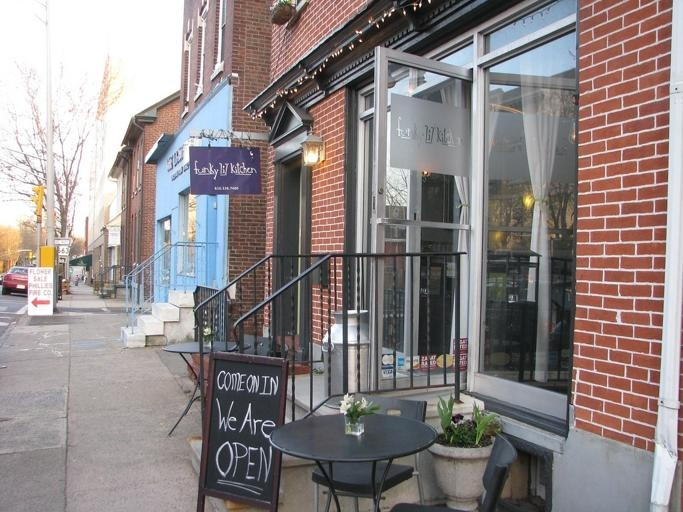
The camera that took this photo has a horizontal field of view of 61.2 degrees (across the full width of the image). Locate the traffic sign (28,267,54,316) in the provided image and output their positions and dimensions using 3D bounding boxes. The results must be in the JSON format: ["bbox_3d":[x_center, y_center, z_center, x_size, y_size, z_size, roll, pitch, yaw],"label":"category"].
[{"bbox_3d":[-8.484,0.982,16.357,0.616,1.391,0.562,1,-2,-33],"label":"traffic sign"}]

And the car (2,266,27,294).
[{"bbox_3d":[-15.390,1.155,27.268,1.234,1.149,3.046,-1,2,-31],"label":"car"}]

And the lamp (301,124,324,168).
[{"bbox_3d":[-0.359,-1.431,7.691,0.258,0.409,0.322,1,-2,-18],"label":"lamp"}]

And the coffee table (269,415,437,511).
[{"bbox_3d":[0.084,1.179,3.734,1.049,0.225,0.760,0,-3,9],"label":"coffee table"}]

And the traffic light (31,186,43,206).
[{"bbox_3d":[-9.414,-1.801,17.941,0.300,0.855,1.153,1,-3,-29],"label":"traffic light"}]
